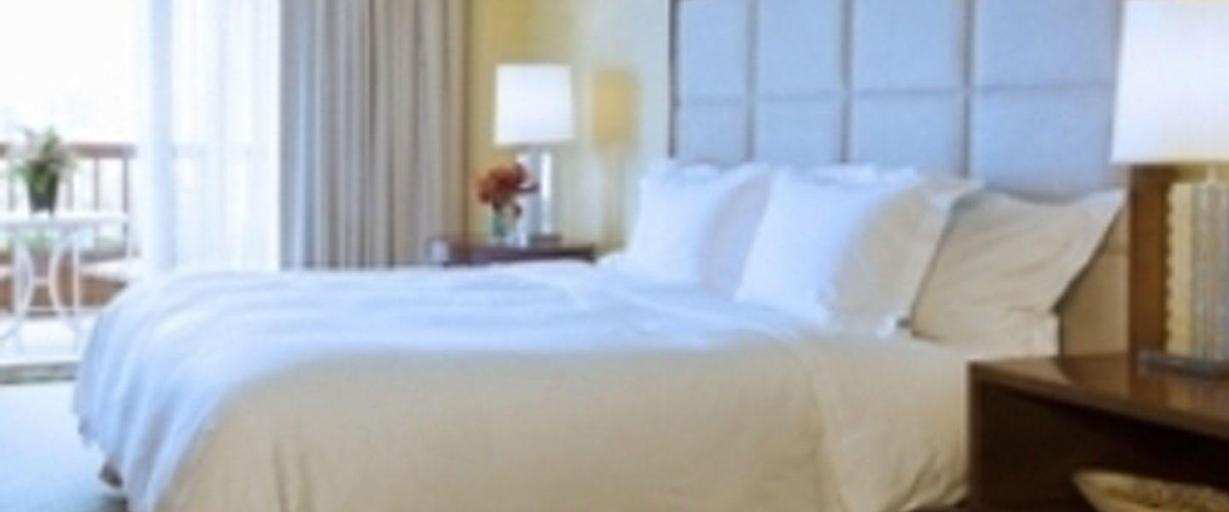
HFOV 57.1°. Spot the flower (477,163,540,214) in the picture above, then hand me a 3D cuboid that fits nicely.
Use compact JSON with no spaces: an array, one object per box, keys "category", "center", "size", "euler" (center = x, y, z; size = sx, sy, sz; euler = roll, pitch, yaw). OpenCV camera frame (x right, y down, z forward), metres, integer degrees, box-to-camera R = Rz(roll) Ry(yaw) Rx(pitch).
[{"category":"flower","center":[-0.815,-0.543,8.660],"size":[0.428,0.337,0.413],"euler":[-2,13,1]}]

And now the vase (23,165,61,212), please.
[{"category":"vase","center":[-4.658,-0.546,9.223],"size":[0.288,0.386,0.264],"euler":[3,23,-32]}]

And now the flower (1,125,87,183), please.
[{"category":"flower","center":[-4.771,-0.821,9.398],"size":[0.714,0.462,0.569],"euler":[-2,-7,-36]}]
